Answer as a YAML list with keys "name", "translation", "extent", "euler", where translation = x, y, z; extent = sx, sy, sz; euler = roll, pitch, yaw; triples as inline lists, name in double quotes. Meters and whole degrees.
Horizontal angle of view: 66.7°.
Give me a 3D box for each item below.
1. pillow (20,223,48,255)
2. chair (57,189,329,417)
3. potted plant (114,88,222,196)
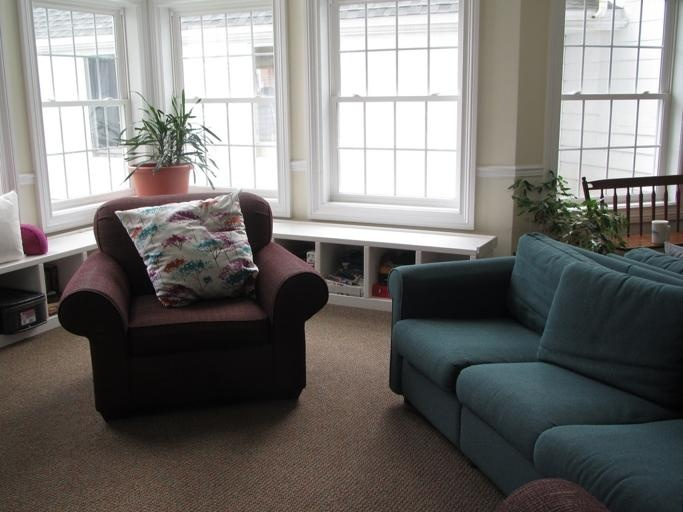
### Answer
- name: "pillow"
  translation: [-2.121, -0.129, 3.633]
  extent: [0.199, 0.194, 0.090]
  euler: [7, 13, 10]
- name: "chair"
  translation: [-0.853, 0.227, 2.994]
  extent: [1.296, 1.028, 0.970]
  euler: [-4, 15, -18]
- name: "potted plant"
  translation: [-1.431, -0.934, 4.483]
  extent: [0.695, 0.778, 0.783]
  euler: [-11, 18, -11]
